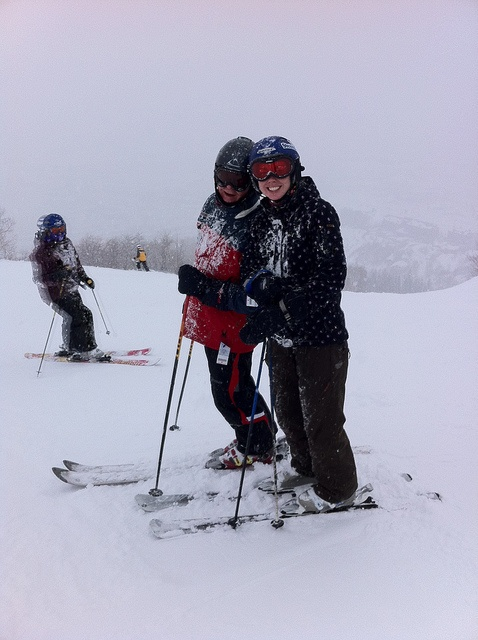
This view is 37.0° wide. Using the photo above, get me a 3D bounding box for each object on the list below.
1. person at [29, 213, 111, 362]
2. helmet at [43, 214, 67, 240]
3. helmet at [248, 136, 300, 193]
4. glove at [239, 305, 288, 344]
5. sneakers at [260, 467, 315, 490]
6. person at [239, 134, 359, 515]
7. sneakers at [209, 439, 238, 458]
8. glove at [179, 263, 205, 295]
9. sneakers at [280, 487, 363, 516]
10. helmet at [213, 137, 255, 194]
[{"bbox_3d":[-2.086,-0.369,8.712,0.825,1.805,0.392,-3,8,-18],"label":"person"},{"bbox_3d":[-2.191,-1.084,8.494,0.316,0.313,0.173,-5,9,-34],"label":"helmet"},{"bbox_3d":[0.188,-0.825,3.902,0.259,0.302,0.325,-8,-8,2],"label":"helmet"},{"bbox_3d":[0.126,0.031,3.812,0.144,0.237,0.266,-5,9,-31],"label":"glove"},{"bbox_3d":[0.285,0.998,4.465,0.363,0.169,0.127,3,-13,9],"label":"sneakers"},{"bbox_3d":[0.343,0.054,4.019,0.645,2.097,0.671,2,8,16],"label":"person"},{"bbox_3d":[-0.102,0.886,4.905,0.266,0.114,0.092,-14,-3,39],"label":"sneakers"},{"bbox_3d":[-0.291,-0.234,4.319,0.137,0.067,0.187,-22,-21,22],"label":"glove"},{"bbox_3d":[0.473,1.065,4.092,0.516,0.223,0.165,-2,-6,-5],"label":"sneakers"},{"bbox_3d":[0.007,-0.944,4.274,0.235,0.315,0.321,18,21,15],"label":"helmet"}]
